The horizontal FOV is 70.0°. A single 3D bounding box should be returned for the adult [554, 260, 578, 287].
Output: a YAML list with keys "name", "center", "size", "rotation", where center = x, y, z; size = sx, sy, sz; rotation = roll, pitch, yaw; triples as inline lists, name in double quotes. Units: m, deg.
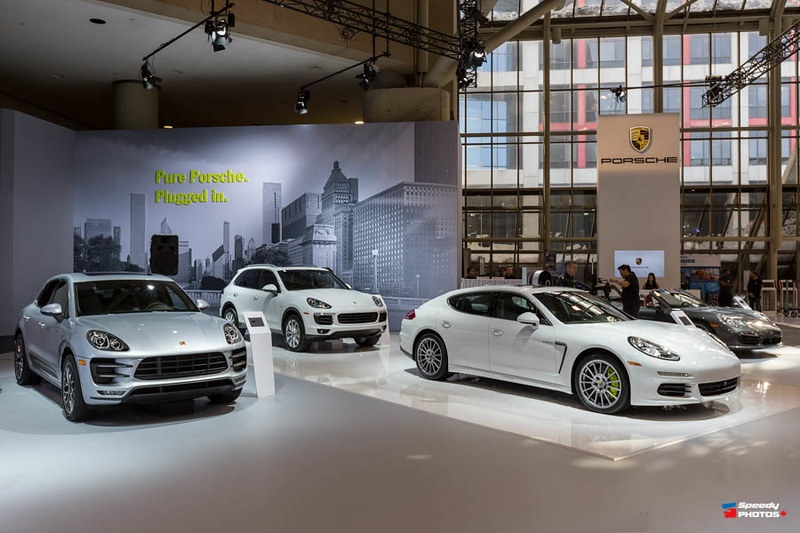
- name: "adult"
  center: [5.237, 0.157, 18.062]
  size: [0.498, 1.047, 0.973]
  rotation: [1, 9, 16]

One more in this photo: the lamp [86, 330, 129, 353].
- name: "lamp"
  center: [-3.872, 0.972, 7.536]
  size: [0.404, 0.118, 0.303]
  rotation: [25, 20, 0]

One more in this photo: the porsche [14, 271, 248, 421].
- name: "porsche"
  center: [-4.099, 1.063, 8.504]
  size: [3.572, 1.856, 1.829]
  rotation: [4, 7, 33]

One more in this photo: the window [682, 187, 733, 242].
- name: "window"
  center: [15.578, -2.670, 28.784]
  size: [2.400, 2.928, 0.242]
  rotation: [1, 0, 3]

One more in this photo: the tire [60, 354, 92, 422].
- name: "tire"
  center: [-4.347, 1.611, 7.689]
  size: [0.235, 0.789, 0.725]
  rotation: [8, 7, -24]

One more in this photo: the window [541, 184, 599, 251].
- name: "window"
  center: [8.550, -2.357, 28.807]
  size: [3.273, 4.168, 0.182]
  rotation: [0, 0, 0]

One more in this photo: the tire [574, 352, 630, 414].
- name: "tire"
  center: [2.857, 1.596, 7.998]
  size: [0.193, 0.617, 0.601]
  rotation: [-1, -35, -47]

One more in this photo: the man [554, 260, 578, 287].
- name: "man"
  center: [5.237, 0.157, 18.062]
  size: [0.498, 1.047, 0.973]
  rotation: [1, 9, 16]

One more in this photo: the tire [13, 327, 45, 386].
- name: "tire"
  center: [-5.967, 1.419, 9.200]
  size: [0.279, 0.950, 0.866]
  rotation: [6, -9, -29]

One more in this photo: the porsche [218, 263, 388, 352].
- name: "porsche"
  center: [-2.479, 0.853, 13.416]
  size: [1.794, 1.663, 3.792]
  rotation: [2, -2, -42]

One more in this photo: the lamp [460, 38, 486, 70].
- name: "lamp"
  center: [1.955, -5.703, 15.358]
  size: [0.540, 0.388, 0.806]
  rotation: [-8, 19, -12]
